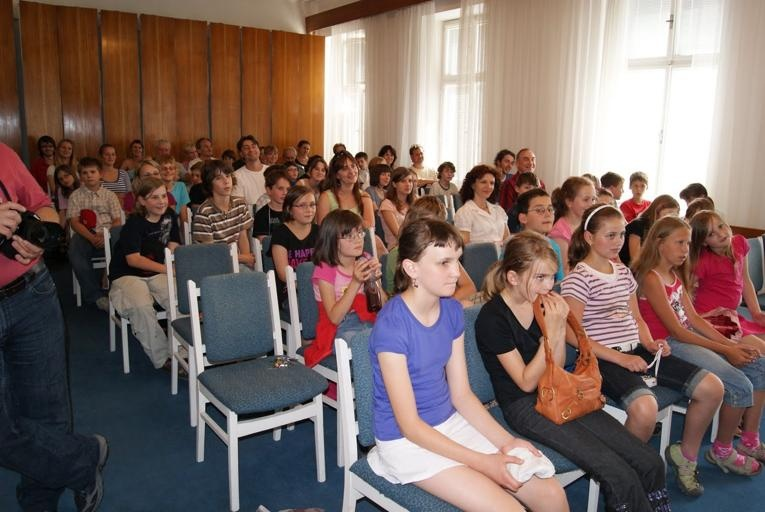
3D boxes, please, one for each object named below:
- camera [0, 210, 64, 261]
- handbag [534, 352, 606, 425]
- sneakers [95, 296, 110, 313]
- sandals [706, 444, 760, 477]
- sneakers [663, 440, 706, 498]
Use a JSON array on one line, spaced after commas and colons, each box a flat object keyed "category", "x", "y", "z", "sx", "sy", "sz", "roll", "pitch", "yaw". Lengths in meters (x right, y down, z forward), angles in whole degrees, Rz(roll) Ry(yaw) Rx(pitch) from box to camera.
[{"category": "camera", "x": -1.617, "y": -0.093, "z": 2.500, "sx": 0.229, "sy": 0.227, "sz": 0.098, "roll": 27, "pitch": -4, "yaw": -18}, {"category": "handbag", "x": 0.916, "y": 0.672, "z": 2.624, "sx": 0.295, "sy": 0.296, "sz": 0.155, "roll": -9, "pitch": 17, "yaw": -32}, {"category": "sneakers", "x": -2.860, "y": 0.491, "z": 5.419, "sx": 0.168, "sy": 0.185, "sz": 0.064, "roll": -2, "pitch": -2, "yaw": 5}, {"category": "sandals", "x": 2.155, "y": 1.268, "z": 3.254, "sx": 0.252, "sy": 0.138, "sz": 0.161, "roll": 2, "pitch": 17, "yaw": 34}, {"category": "sneakers", "x": 1.783, "y": 1.250, "z": 3.186, "sx": 0.153, "sy": 0.345, "sz": 0.135, "roll": -35, "pitch": -13, "yaw": 39}]
